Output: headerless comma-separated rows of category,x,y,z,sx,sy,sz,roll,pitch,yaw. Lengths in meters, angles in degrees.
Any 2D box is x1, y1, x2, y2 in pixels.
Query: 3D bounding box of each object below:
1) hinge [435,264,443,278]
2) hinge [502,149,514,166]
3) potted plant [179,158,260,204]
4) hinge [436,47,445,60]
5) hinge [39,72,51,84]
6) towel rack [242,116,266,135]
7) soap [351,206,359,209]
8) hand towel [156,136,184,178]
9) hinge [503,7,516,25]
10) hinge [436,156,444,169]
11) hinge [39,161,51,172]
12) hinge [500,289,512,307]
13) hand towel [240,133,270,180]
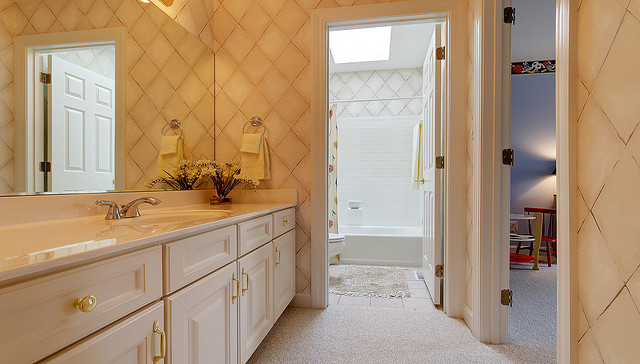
hinge,1.049,0.777,3.633,0.119,0.115,0.028,0,-1,16
hinge,1.387,-0.182,3.047,0.104,0.143,0.098,1,0,21
potted plant,-0.837,-0.042,3.386,0.473,0.247,0.401,5,3,30
hinge,1.035,-1.080,3.518,0.073,0.096,0.037,12,19,38
hinge,-1.667,-0.622,2.504,0.060,0.052,0.056,9,10,-11
towel rack,-0.577,-0.494,3.608,0.196,0.139,0.029,2,15,5
soap,0.478,0.345,5.566,0.101,0.038,0.022,1,15,3
hand towel,-1.155,-0.184,3.254,0.217,0.343,0.160,-3,0,32
hinge,1.397,-1.214,3.045,0.087,0.105,0.027,0,15,1
hinge,1.043,-0.163,3.564,0.069,0.107,0.055,2,15,6
hinge,-1.676,-0.092,2.522,0.088,0.076,0.049,1,4,-33
hinge,1.395,0.855,3.086,0.098,0.108,0.029,1,1,12
hand towel,-0.557,-0.205,3.556,0.338,0.588,0.132,0,-1,8
